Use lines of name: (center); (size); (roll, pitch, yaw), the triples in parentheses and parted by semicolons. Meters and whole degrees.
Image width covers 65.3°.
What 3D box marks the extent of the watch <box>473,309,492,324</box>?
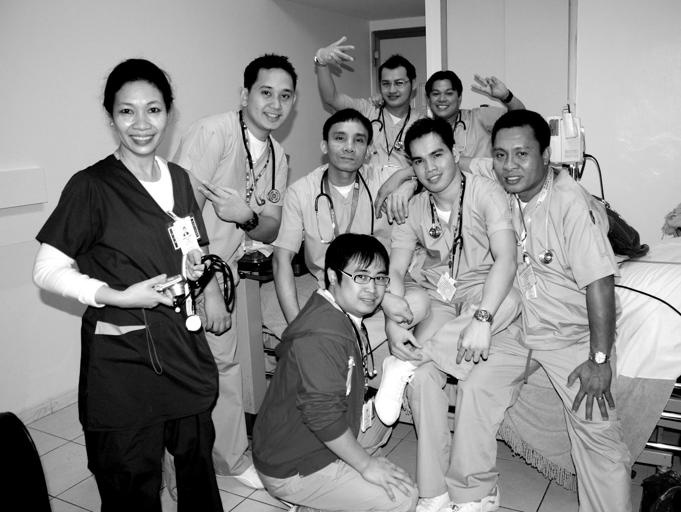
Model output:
watch: (0.658, 0.274, 2.466); (0.078, 0.056, 0.079); (17, -1, 14)

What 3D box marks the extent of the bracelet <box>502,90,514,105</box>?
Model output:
bracelet: (1.358, -1.275, 4.291); (0.069, 0.097, 0.093); (23, -22, 4)

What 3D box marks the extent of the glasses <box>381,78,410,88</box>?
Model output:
glasses: (0.438, -1.341, 4.143); (0.209, 0.058, 0.065); (-3, 11, 2)

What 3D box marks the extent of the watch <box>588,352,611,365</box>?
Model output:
watch: (1.152, 0.442, 2.342); (0.058, 0.036, 0.061); (4, -2, 12)

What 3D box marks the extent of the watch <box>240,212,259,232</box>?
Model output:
watch: (-0.459, -0.165, 2.664); (0.067, 0.066, 0.092); (-2, 8, 2)

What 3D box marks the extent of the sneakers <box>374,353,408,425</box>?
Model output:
sneakers: (0.247, 0.582, 2.494); (0.141, 0.115, 0.350); (-30, 32, 24)

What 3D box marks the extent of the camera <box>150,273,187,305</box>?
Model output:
camera: (-0.638, 0.110, 2.001); (0.111, 0.115, 0.069); (-33, 44, -15)
